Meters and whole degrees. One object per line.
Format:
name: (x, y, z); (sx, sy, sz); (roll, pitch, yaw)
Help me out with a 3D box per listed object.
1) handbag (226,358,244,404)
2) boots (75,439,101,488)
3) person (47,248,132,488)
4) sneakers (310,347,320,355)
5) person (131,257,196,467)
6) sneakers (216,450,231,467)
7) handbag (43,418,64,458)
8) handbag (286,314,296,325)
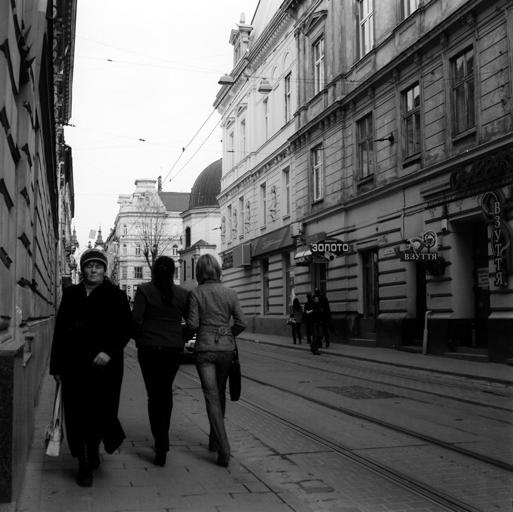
handbag: (-0.206, 1.171, 6.815); (0.108, 0.402, 0.408); (-1, -5, -2)
boots: (-1.383, 1.691, 5.998); (0.173, 0.336, 0.533); (0, -6, -13)
person: (-1.371, 0.890, 6.095); (0.688, 1.942, 0.557); (1, -4, -20)
sneakers: (1.553, 2.548, 19.257); (0.100, 0.295, 0.322); (3, -15, -34)
person: (-0.869, 0.931, 6.690); (0.528, 1.906, 0.477); (0, -4, -10)
sneakers: (-0.281, 1.817, 6.482); (0.094, 0.136, 0.206); (2, -17, -1)
handbag: (-1.660, 1.500, 5.971); (0.127, 0.293, 0.218); (0, -5, -18)
handbag: (1.249, 2.289, 25.978); (0.196, 0.655, 0.559); (-1, 3, -18)
